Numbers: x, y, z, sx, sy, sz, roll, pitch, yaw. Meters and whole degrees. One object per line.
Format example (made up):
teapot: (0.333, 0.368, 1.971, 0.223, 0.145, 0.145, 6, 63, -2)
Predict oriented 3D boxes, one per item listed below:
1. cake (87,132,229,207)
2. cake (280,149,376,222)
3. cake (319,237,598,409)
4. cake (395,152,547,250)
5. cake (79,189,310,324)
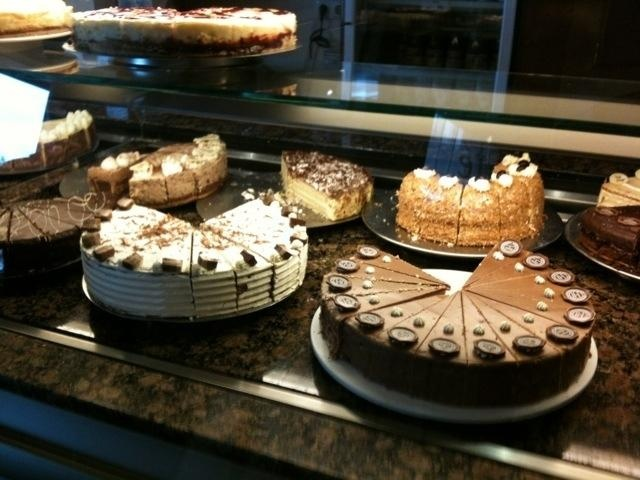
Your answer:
cake: (-0.821, -0.350, 2.759, 0.433, 0.165, 0.458, -22, 29, -35)
cake: (0.016, -0.339, 2.862, 0.375, 0.171, 0.562, -28, 47, -35)
cake: (0.476, 0.282, 1.902, 0.947, 0.282, 0.614, 2, 25, -1)
cake: (0.737, -0.198, 2.421, 0.518, 0.246, 0.507, -20, 28, -36)
cake: (-0.537, 0.045, 2.248, 0.906, 0.281, 0.679, 1, 27, -7)
